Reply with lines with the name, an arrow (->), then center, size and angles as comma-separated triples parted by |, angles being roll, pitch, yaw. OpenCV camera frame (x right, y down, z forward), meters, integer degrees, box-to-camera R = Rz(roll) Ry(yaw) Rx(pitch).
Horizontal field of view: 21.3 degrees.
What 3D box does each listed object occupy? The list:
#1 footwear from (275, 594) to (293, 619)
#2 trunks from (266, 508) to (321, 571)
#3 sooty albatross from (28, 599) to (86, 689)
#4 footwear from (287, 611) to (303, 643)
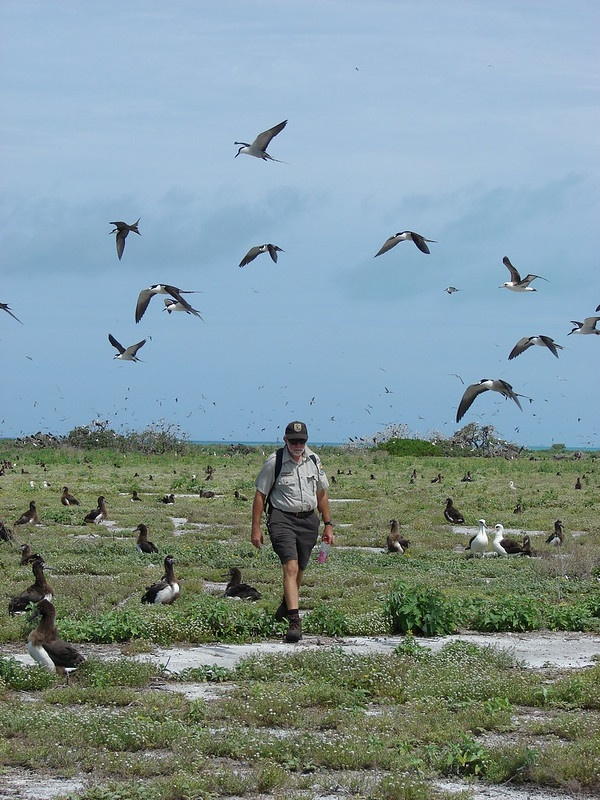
footwear -> -0.175, 2.566, 19.545 | 0.138, 0.318, 0.316 | 4, -27, 4
trunks -> -0.068, 1.672, 19.137 | 0.610, 0.751, 0.571 | 0, 1, -11
sooty albatross -> -2.593, 2.545, 17.158 | 0.683, 0.856, 0.418 | 1, 5, -34
footwear -> -0.091, 2.693, 19.128 | 0.176, 0.391, 0.317 | 0, 1, 6
